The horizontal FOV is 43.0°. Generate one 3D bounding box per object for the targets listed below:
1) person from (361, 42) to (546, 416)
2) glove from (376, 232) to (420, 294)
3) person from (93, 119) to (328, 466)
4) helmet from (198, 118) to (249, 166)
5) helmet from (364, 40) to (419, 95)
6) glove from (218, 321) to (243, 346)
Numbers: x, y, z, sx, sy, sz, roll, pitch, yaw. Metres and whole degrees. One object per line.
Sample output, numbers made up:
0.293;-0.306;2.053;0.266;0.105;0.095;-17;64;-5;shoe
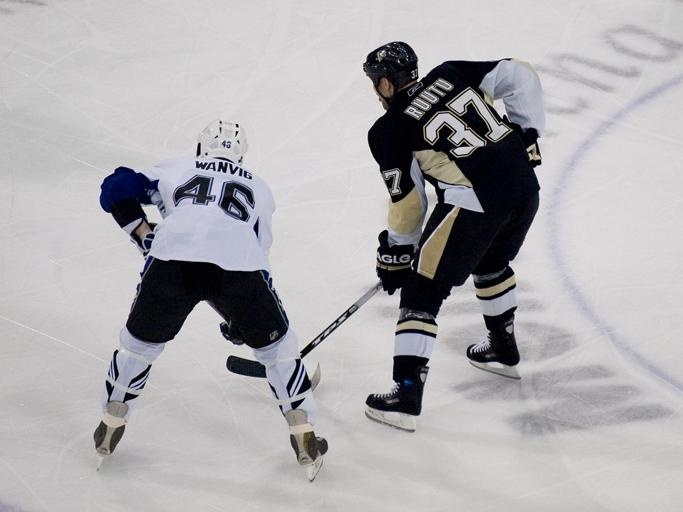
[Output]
0.608;-0.097;5.218;1.182;2.284;0.780;12;-13;-7;person
0.295;0.031;5.399;0.297;0.349;0.151;0;17;-39;glove
-0.741;0.194;4.886;1.404;1.957;0.461;13;-13;-14;person
-0.688;-0.653;5.103;0.307;0.290;0.352;7;-5;-13;helmet
0.300;-1.154;5.209;0.281;0.234;0.350;-30;28;-35;helmet
-0.635;0.436;5.000;0.137;0.066;0.180;41;-11;14;glove
